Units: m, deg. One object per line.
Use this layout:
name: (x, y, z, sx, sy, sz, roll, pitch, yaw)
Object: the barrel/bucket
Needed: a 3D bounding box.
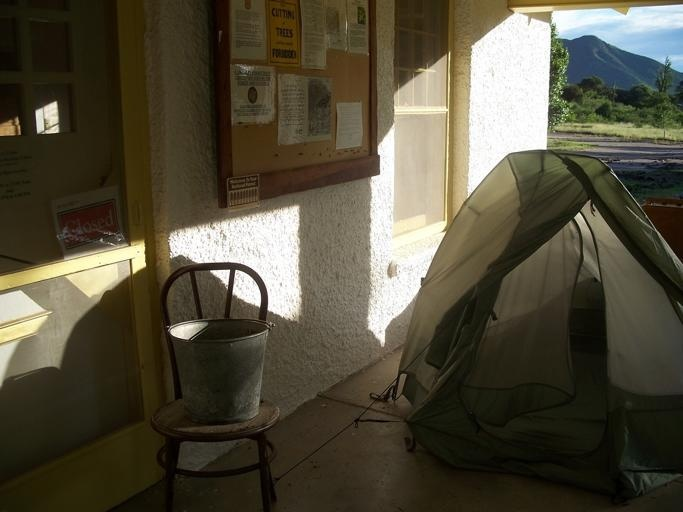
barrel/bucket: (-0.469, 0.415, 1.999, 0.376, 0.372, 0.450, 6, 14, 16)
